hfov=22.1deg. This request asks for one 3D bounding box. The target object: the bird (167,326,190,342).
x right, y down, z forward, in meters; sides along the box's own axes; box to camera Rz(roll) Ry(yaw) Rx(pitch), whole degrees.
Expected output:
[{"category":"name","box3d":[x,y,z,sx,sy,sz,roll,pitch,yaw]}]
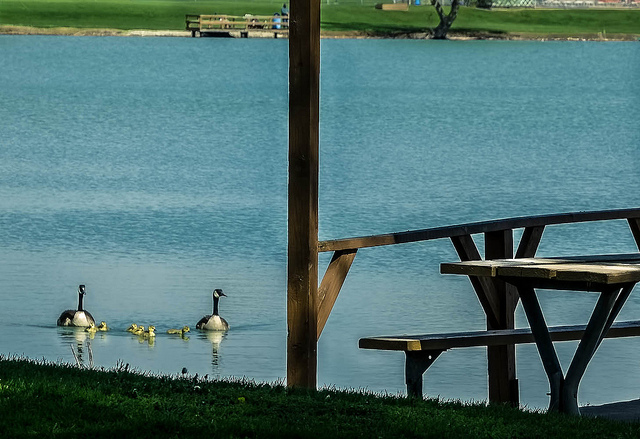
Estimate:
[{"category":"bird","box3d":[-6.418,5.044,74.618,0.952,0.568,0.473,13,6,18]}]

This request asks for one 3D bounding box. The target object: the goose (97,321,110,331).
[{"category":"goose","box3d":[-9.923,4.762,74.777,0.341,0.449,0.485,-5,-20,14]}]

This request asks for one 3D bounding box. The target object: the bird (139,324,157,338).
[{"category":"bird","box3d":[-7.713,4.960,74.318,0.857,0.482,0.584,-7,8,-40]}]

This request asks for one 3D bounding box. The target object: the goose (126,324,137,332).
[{"category":"goose","box3d":[-8.607,4.813,74.499,0.436,0.151,0.304,-24,-4,3]}]

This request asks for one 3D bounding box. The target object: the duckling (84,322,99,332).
[{"category":"duckling","box3d":[-10.397,4.789,74.631,0.406,0.310,0.503,3,-10,-13]}]

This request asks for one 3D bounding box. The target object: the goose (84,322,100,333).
[{"category":"goose","box3d":[-10.401,4.800,74.635,0.434,0.374,0.553,1,-27,-4]}]

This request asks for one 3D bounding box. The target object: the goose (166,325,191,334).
[{"category":"goose","box3d":[-6.512,4.930,74.734,0.921,0.497,0.359,6,4,6]}]

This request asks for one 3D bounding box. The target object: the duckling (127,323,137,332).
[{"category":"duckling","box3d":[-8.572,4.782,74.521,0.378,0.238,0.265,-31,-9,16]}]
